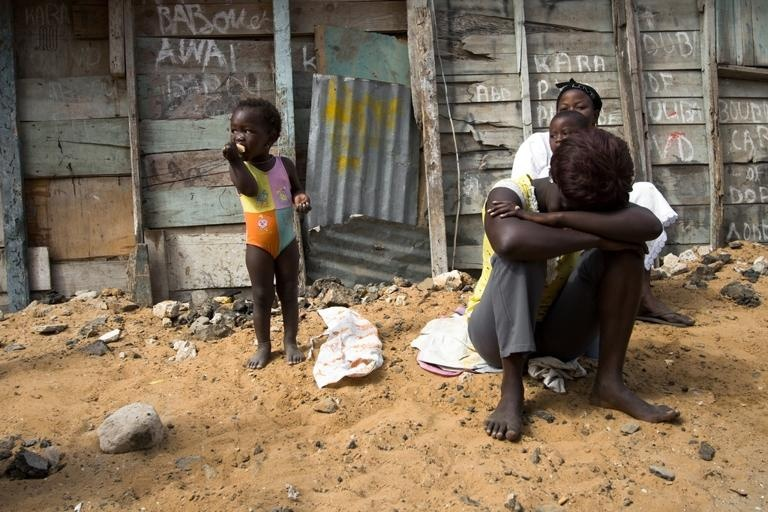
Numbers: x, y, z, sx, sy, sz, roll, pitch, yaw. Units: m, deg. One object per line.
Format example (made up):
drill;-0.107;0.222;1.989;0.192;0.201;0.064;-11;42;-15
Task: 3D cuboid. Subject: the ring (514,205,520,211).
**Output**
ring;0.843;-0.307;3.711;0.041;0.012;0.042;-2;21;1

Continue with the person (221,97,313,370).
person;-0.899;-0.191;4.591;0.606;2.074;0.561;-5;10;-13

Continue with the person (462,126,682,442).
person;1.150;0.154;3.738;1.164;1.900;0.578;-3;10;-1

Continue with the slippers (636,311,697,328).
slippers;2.363;0.500;4.852;0.435;0.098;0.164;1;0;23
